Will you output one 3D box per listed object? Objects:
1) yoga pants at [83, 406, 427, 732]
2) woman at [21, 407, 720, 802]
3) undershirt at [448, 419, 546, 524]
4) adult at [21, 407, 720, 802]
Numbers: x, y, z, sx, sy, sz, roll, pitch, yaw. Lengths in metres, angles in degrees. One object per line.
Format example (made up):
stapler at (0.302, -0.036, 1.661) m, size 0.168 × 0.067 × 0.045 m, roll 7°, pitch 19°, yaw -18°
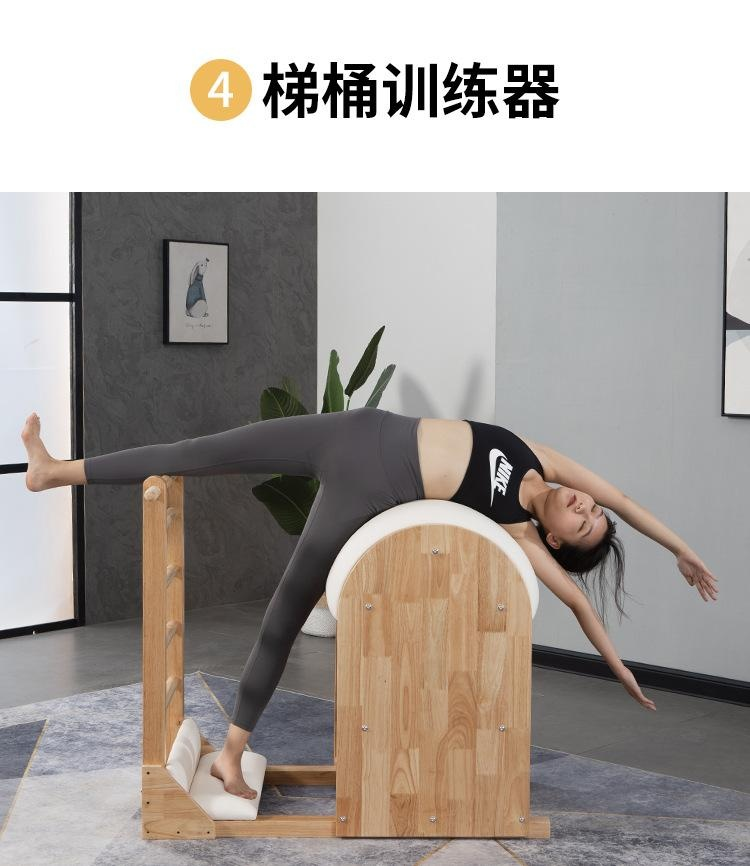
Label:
yoga pants at (-0.170, 0.241, 2.336) m, size 0.715 × 0.864 × 0.591 m, roll 3°, pitch 6°, yaw 12°
woman at (0.103, 0.215, 2.556) m, size 1.492 × 1.065 × 0.997 m, roll 3°, pitch 4°, yaw -1°
undershirt at (0.321, 0.128, 2.120) m, size 0.240 × 0.318 × 0.188 m, roll -6°, pitch -13°, yaw 12°
adult at (-0.027, 0.435, 2.146) m, size 1.766 × 0.964 × 0.457 m, roll 1°, pitch 12°, yaw 3°
